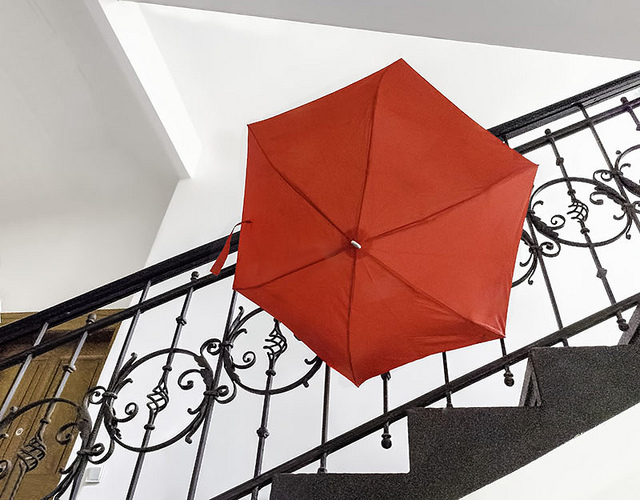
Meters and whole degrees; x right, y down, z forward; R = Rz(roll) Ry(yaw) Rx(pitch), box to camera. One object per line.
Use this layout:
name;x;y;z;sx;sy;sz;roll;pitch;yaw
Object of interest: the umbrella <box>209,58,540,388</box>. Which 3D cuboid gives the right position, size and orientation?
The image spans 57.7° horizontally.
umbrella;0.274;-0.114;2.629;1.376;1.112;0.836;-16;-47;15
